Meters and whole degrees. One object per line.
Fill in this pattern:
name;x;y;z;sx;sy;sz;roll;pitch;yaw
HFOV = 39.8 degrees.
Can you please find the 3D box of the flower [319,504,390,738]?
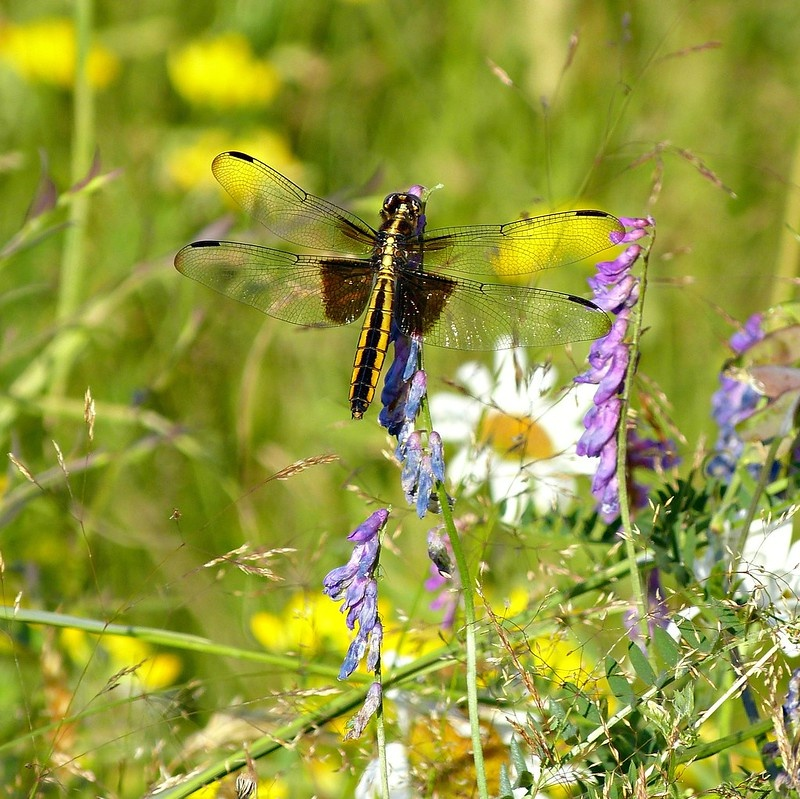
flower;-0.070;0.332;1.628;0.092;0.062;0.350;6;-80;31
